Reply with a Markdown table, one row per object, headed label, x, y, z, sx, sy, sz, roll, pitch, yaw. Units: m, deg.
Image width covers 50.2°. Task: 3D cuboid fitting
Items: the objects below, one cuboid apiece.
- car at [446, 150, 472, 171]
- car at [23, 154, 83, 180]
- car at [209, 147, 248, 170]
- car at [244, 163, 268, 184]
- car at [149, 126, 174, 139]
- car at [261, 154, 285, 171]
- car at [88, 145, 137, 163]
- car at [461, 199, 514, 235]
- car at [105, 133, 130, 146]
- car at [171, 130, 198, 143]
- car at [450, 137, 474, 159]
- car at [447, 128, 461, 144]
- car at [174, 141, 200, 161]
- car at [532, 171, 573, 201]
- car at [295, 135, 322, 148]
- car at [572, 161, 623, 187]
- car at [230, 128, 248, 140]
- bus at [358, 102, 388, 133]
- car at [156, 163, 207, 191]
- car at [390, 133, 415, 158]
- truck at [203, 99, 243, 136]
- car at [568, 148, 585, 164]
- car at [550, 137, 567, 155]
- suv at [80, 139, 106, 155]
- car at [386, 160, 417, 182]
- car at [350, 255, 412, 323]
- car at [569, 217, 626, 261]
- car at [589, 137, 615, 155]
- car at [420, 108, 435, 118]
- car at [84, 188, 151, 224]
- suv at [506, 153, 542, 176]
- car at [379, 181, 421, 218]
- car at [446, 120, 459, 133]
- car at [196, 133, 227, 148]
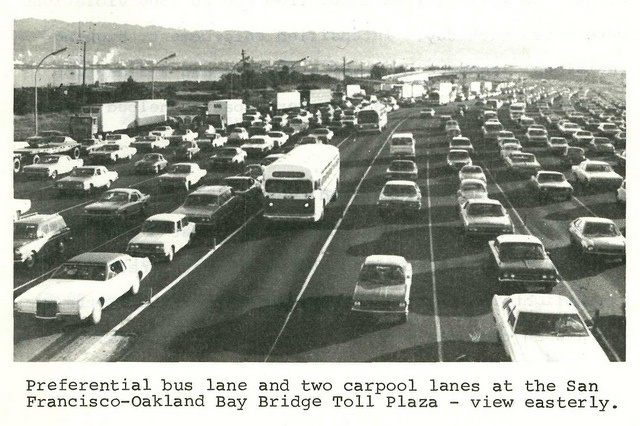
| label | x | y | z | sx | sy | sz | roll | pitch | yaw |
| --- | --- | --- | --- | --- | --- | --- | --- | --- | --- |
| car | 10.544 | -3.971 | 51.691 | 1.674 | 1.295 | 3.007 | 0 | 8 | 9 |
| car | -19.860 | -3.468 | 51.322 | 2.281 | 1.375 | 4.833 | 1 | 11 | 11 |
| car | -7.290 | -4.483 | 55.151 | 2.032 | 1.551 | 3.221 | 4 | 20 | 15 |
| car | -4.849 | -3.115 | 50.975 | 1.152 | 1.052 | 4.154 | -1 | 7 | -3 |
| car | -15.571 | -8.057 | 67.805 | 1.517 | 0.941 | 2.468 | 0 | 6 | 1 |
| car | -3.452 | -3.523 | 48.695 | 1.282 | 0.965 | 2.194 | -2 | 9 | 0 |
| car | -17.132 | -4.898 | 56.897 | 1.622 | 0.968 | 3.372 | -2 | 7 | 2 |
| car | 8.918 | 0.286 | 36.324 | 2.340 | 1.465 | 2.569 | 1 | 19 | 5 |
| car | -17.536 | -6.424 | 59.207 | 1.240 | 0.734 | 2.254 | 0 | 5 | 1 |
| car | -12.967 | -7.328 | 65.366 | 1.471 | 0.943 | 2.530 | -2 | 6 | 9 |
| car | 11.987 | -5.572 | 57.439 | 1.505 | 1.128 | 2.621 | 1 | 8 | 11 |
| car | 12.817 | -7.414 | 65.382 | 1.108 | 0.885 | 1.980 | 2 | 23 | 15 |
| car | -11.326 | -5.219 | 58.221 | 1.241 | 1.564 | 2.475 | 3 | 19 | 11 |
| car | 15.221 | -1.713 | 44.500 | 2.257 | 1.677 | 1.820 | 2 | 19 | 10 |
| car | -0.886 | -6.393 | 59.770 | 1.583 | 0.808 | 2.582 | -1 | 7 | 6 |
| car | 19.139 | -2.731 | 47.618 | 1.605 | 0.882 | 2.984 | 0 | 11 | 4 |
| car | -7.793 | -7.749 | 66.440 | 1.003 | 0.870 | 1.920 | -1 | 9 | -1 |
| bus | 5.732 | -10.407 | 73.215 | 1.803 | 1.593 | 4.945 | -1 | 16 | 10 |
| car | -9.513 | -2.589 | 48.111 | 1.596 | 1.076 | 3.096 | -1 | 11 | 9 |
| car | 7.015 | -5.622 | 57.048 | 1.408 | 1.134 | 2.573 | 2 | 22 | 9 |
| truck | -11.244 | -11.487 | 79.015 | 2.510 | 3.249 | 6.782 | 1 | 6 | 8 |
| car | 20.280 | -4.489 | 54.118 | 1.354 | 1.045 | 1.625 | 6 | 20 | 20 |
| car | 20.619 | -5.830 | 59.131 | 1.112 | 0.900 | 2.420 | -2 | 16 | 11 |
| suv | -19.794 | -5.806 | 59.773 | 1.250 | 0.758 | 2.385 | 0 | 7 | 2 |
| car | 5.822 | -2.865 | 48.070 | 1.980 | 1.305 | 1.851 | 16 | 25 | 41 |
| car | 2.703 | 3.410 | 29.530 | 2.313 | 2.301 | 2.725 | 2 | 19 | 11 |
| car | 13.963 | 1.188 | 34.254 | 1.479 | 1.000 | 3.076 | 0 | 12 | 3 |
| car | 24.789 | -5.860 | 59.748 | 1.948 | 1.239 | 1.274 | 5 | 20 | 17 |
| car | 14.172 | -13.112 | 89.463 | 1.638 | 0.857 | 3.065 | 0 | 15 | 12 |
| car | -11.981 | -0.349 | 40.128 | 1.818 | 1.672 | 3.984 | 9 | 21 | 27 |
| suv | 15.160 | -3.502 | 50.548 | 2.077 | 1.581 | 2.360 | 2 | 19 | 9 |
| car | 4.781 | -0.756 | 40.900 | 2.359 | 1.893 | 1.956 | 0 | 19 | 3 |
| car | 13.800 | -9.015 | 71.235 | 1.414 | 1.171 | 2.552 | -1 | 8 | 15 |
| car | -10.136 | -6.722 | 64.271 | 1.370 | 1.525 | 3.490 | 5 | 20 | 19 |
